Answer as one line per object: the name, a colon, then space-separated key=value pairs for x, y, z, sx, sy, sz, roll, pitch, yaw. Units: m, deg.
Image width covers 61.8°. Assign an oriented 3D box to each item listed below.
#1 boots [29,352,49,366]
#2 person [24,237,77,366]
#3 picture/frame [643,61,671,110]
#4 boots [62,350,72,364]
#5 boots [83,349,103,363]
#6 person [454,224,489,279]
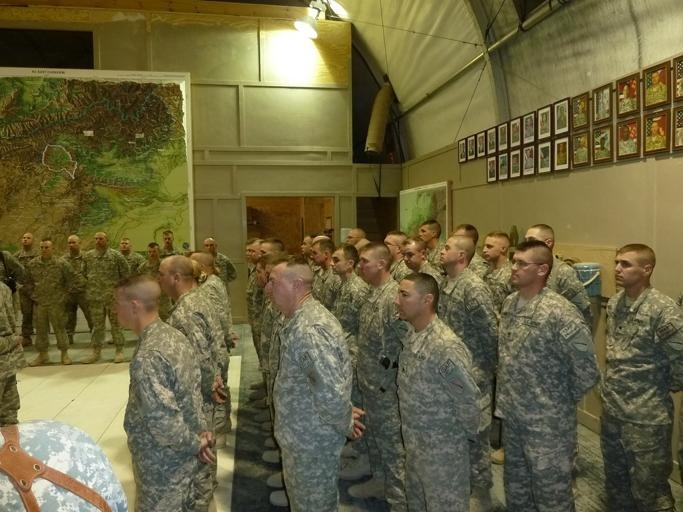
boots: x=-4.422 y=1.476 z=8.353 sx=0.241 sy=0.170 sz=0.420 roll=-1 pitch=2 yaw=-27
person: x=-4.317 y=0.658 z=8.486 sx=0.669 sy=1.795 sz=0.752 roll=0 pitch=2 yaw=-19
picture/frame: x=2.801 y=-1.505 z=5.101 sx=0.028 sy=0.375 sz=0.297 roll=0 pitch=2 yaw=-18
boots: x=-4.024 y=1.469 z=8.342 sx=0.132 sy=0.180 sz=0.227 roll=-1 pitch=2 yaw=-26
boots: x=-3.704 y=1.466 z=8.445 sx=0.251 sy=0.199 sz=0.232 roll=1 pitch=2 yaw=5
person: x=1.544 y=-0.049 z=6.659 sx=0.500 sy=0.631 sz=0.965 roll=2 pitch=3 yaw=9
